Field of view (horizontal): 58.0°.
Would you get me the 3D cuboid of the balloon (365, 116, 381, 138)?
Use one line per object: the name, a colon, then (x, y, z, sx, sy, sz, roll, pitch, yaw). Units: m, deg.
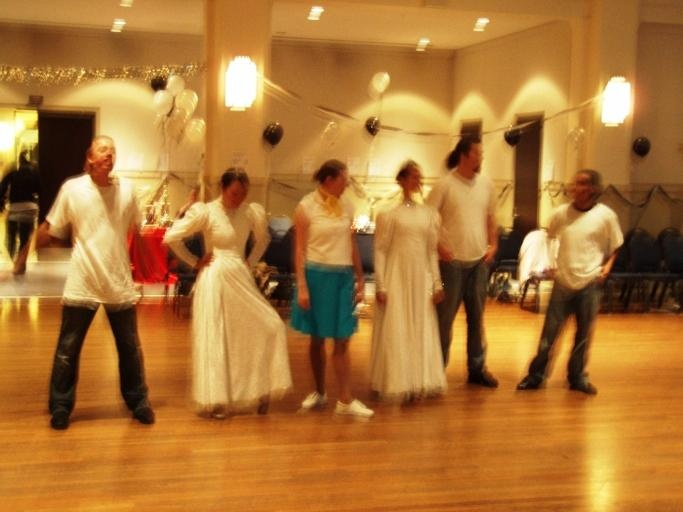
balloon: (0.335, -1.431, 6.780, 0.161, 0.229, 0.139, 0, -2, 2)

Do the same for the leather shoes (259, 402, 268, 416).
leather shoes: (-0.506, 0.970, 3.930, 0.048, 0.060, 0.197, 7, -31, -10)

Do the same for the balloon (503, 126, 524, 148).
balloon: (1.703, -1.203, 6.193, 0.199, 0.288, 0.138, 0, 7, -44)

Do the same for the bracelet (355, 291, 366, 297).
bracelet: (0.119, 0.248, 4.015, 0.033, 0.036, 0.034, 1, -8, -3)

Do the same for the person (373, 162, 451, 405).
person: (0.464, 0.171, 4.286, 0.494, 1.633, 0.328, -2, 8, -25)

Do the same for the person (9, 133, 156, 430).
person: (-1.489, 0.152, 3.695, 0.611, 1.726, 0.422, -3, 8, -29)

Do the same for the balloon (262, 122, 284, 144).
balloon: (-0.776, -1.370, 6.900, 0.197, 0.179, 0.236, -6, -37, -12)

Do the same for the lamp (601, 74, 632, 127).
lamp: (3.031, -1.724, 6.799, 0.281, 0.525, 0.366, 3, 7, 18)

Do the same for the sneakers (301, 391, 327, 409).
sneakers: (-0.189, 0.974, 4.168, 0.192, 0.087, 0.076, 3, -5, -41)

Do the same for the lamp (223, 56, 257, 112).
lamp: (-1.089, -1.873, 6.656, 0.326, 0.535, 0.166, 0, 7, -12)

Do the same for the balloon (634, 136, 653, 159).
balloon: (3.589, -1.304, 7.344, 0.200, 0.248, 0.119, 5, 8, 27)

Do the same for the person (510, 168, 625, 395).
person: (1.736, 0.184, 4.608, 0.643, 1.643, 0.388, 4, 7, 18)

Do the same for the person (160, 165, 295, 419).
person: (-0.725, 0.329, 3.929, 0.762, 1.346, 0.407, -1, 7, -18)

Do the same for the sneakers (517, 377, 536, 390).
sneakers: (1.404, 0.957, 4.655, 0.135, 0.067, 0.081, -3, -2, -37)

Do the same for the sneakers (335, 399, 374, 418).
sneakers: (0.083, 0.988, 4.020, 0.244, 0.107, 0.101, 2, -2, 3)

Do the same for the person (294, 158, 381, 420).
person: (-0.069, 0.202, 3.995, 0.515, 1.637, 0.344, 1, 7, -3)

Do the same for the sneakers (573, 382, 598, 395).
sneakers: (1.814, 0.989, 4.597, 0.149, 0.069, 0.084, -4, -5, 35)
